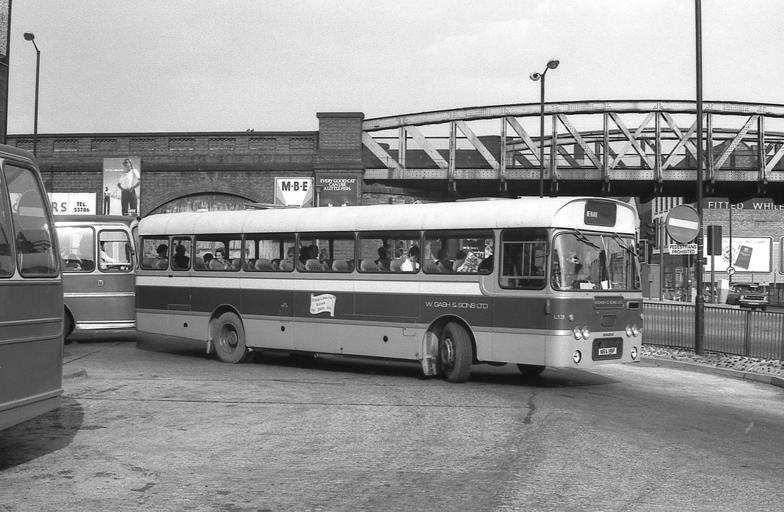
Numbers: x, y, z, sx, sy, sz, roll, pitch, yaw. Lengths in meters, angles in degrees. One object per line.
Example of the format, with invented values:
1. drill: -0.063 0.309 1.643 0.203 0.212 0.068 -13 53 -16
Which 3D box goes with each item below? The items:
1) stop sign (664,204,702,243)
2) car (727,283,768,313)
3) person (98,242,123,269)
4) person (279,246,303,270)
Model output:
1. stop sign: 7.231 -0.804 20.847 0.790 0.946 0.928 2 5 21
2. car: 20.480 2.464 48.173 1.301 1.259 2.580 1 -6 -1
3. person: -7.719 -0.024 23.019 0.646 0.703 0.687 1 2 -6
4. person: -2.324 0.054 19.258 0.435 0.874 0.559 -2 1 -19
